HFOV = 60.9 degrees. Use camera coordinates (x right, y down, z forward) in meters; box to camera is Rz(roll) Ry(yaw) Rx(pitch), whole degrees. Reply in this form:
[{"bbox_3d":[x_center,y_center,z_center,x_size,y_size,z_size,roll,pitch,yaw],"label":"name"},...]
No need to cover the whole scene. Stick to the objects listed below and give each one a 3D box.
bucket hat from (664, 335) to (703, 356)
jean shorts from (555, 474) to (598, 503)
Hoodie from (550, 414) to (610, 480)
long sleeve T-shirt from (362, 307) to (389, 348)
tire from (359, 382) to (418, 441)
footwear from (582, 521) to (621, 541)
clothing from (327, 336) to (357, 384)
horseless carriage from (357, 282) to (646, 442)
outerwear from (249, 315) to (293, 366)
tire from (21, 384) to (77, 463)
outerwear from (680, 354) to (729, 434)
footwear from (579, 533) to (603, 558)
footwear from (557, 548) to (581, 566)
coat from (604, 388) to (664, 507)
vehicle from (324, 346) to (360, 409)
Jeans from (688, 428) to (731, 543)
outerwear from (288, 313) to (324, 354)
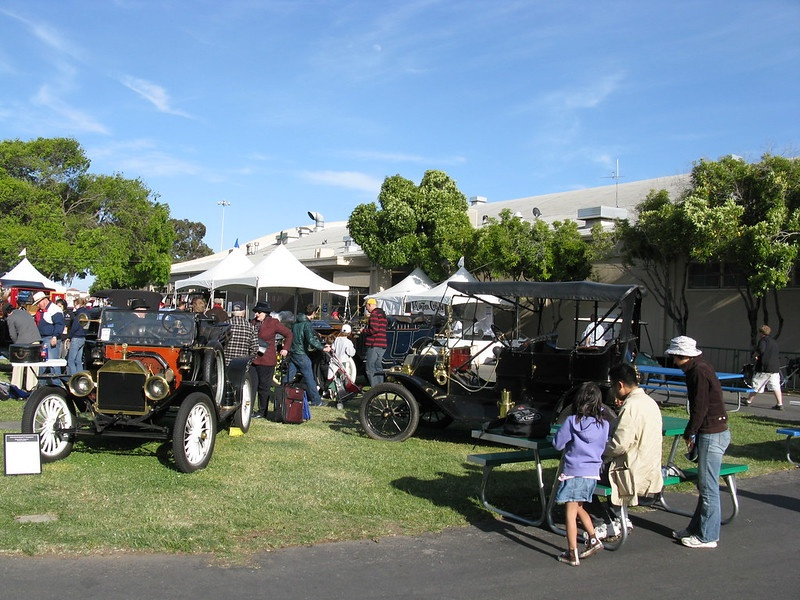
[{"bbox_3d":[3.186,0.523,7.623,0.315,0.252,0.522,4,5,18],"label":"bucket hat"},{"bbox_3d":[1.791,1.838,6.959,0.442,0.295,0.253,3,0,-4],"label":"jean shorts"},{"bbox_3d":[1.838,1.490,7.216,0.661,0.792,0.591,2,0,4],"label":"Hoodie"},{"bbox_3d":[-0.492,0.551,13.920,0.493,0.787,0.654,4,0,27],"label":"long sleeve T-shirt"},{"bbox_3d":[-0.173,1.864,11.345,0.876,0.884,0.178,7,8,28],"label":"tire"},{"bbox_3d":[2.131,2.470,7.303,0.534,0.226,0.181,0,-2,-6],"label":"footwear"},{"bbox_3d":[-1.238,1.233,14.514,0.540,0.919,0.441,-10,24,-27],"label":"clothing"},{"bbox_3d":[1.651,1.030,11.825,4.664,2.857,2.534,1,-2,29],"label":"horseless carriage"},{"bbox_3d":[-2.490,0.726,12.452,1.092,0.866,0.385,4,3,19],"label":"outerwear"},{"bbox_3d":[-4.569,1.621,8.873,0.213,0.797,0.727,-9,-32,23],"label":"tire"},{"bbox_3d":[3.535,0.997,7.698,0.679,1.031,0.832,-1,0,21],"label":"outerwear"},{"bbox_3d":[1.985,2.499,7.046,0.232,0.253,0.359,4,5,18],"label":"footwear"},{"bbox_3d":[1.681,2.559,6.854,0.112,0.159,0.248,1,4,-34],"label":"footwear"},{"bbox_3d":[2.443,1.529,7.095,0.615,1.195,0.404,3,5,4],"label":"coat"},{"bbox_3d":[-1.209,1.604,14.609,0.883,1.160,0.666,-8,12,-36],"label":"vehicle"},{"bbox_3d":[3.311,2.016,7.337,0.323,1.226,0.336,5,5,24],"label":"Jeans"},{"bbox_3d":[-1.808,0.708,13.175,0.552,0.740,0.983,3,2,-38],"label":"outerwear"}]
